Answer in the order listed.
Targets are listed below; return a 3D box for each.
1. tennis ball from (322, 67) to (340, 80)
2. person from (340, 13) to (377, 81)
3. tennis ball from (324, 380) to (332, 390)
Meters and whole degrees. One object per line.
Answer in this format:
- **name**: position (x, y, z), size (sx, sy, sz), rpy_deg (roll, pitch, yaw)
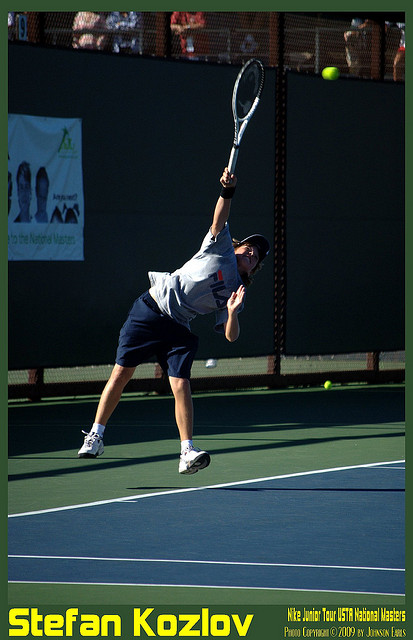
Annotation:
- **tennis ball**: position (1.542, -3.050, 9.937), size (0.177, 0.186, 0.169), rpy_deg (1, -11, 0)
- **person**: position (1.962, -3.617, 10.499), size (0.266, 0.786, 0.785), rpy_deg (1, 2, 40)
- **tennis ball**: position (1.573, 0.836, 10.365), size (0.064, 0.082, 0.093), rpy_deg (0, 5, -6)
